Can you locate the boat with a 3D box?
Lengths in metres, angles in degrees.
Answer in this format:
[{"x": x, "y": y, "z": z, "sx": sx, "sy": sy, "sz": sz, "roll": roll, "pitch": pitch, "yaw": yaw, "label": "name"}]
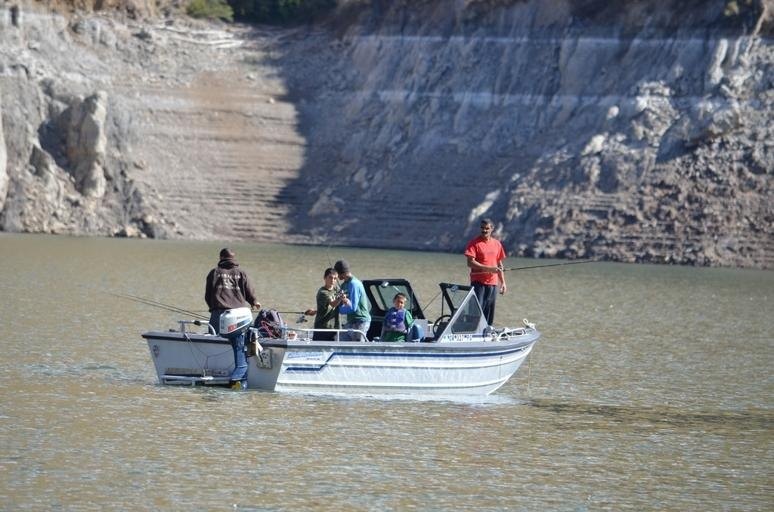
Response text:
[{"x": -1.579, "y": 5.432, "z": 122.092, "sx": 26.630, "sy": 6.756, "sz": 11.253, "roll": 3, "pitch": -3, "yaw": -24, "label": "boat"}]
